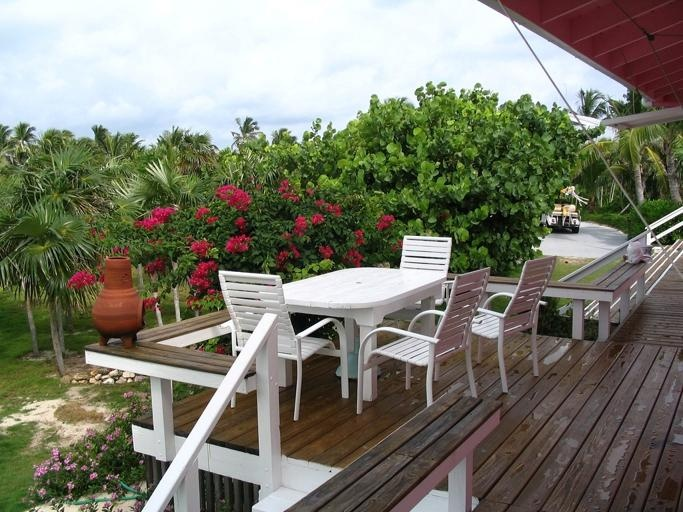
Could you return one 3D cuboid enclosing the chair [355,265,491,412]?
[{"bbox_3d":[0.717,0.713,4.315,0.909,1.259,0.886,8,11,44],"label":"chair"}]

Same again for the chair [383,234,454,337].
[{"bbox_3d":[1.096,0.466,6.319,0.796,0.893,1.162,2,44,13],"label":"chair"}]

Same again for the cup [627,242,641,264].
[{"bbox_3d":[4.822,-0.052,8.139,0.196,0.282,0.282,-3,38,18],"label":"cup"}]

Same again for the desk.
[{"bbox_3d":[0.139,0.361,4.741,1.014,0.923,1.770,2,8,29],"label":"desk"}]

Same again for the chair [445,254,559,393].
[{"bbox_3d":[1.575,0.608,4.899,0.906,1.210,0.910,4,8,32],"label":"chair"}]

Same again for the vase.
[{"bbox_3d":[-1.770,0.359,3.944,0.392,0.690,0.404,2,7,-6],"label":"vase"}]
